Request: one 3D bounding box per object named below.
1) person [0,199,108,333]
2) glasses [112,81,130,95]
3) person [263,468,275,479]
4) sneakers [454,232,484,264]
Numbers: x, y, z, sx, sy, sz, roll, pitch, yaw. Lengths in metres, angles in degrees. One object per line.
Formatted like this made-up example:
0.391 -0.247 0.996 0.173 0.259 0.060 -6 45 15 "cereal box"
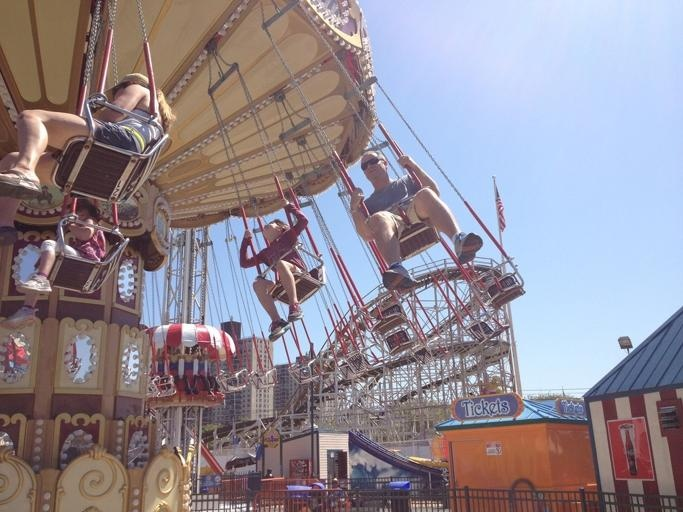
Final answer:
-4.208 0.182 7.110 1.045 1.876 0.868 11 -65 -29 "person"
-2.505 -1.900 5.532 0.184 0.066 0.149 -34 1 -10 "glasses"
-2.830 8.350 19.151 0.338 0.340 1.759 1 -26 -8 "person"
1.518 -0.107 5.958 0.159 0.272 0.385 5 -46 -12 "sneakers"
